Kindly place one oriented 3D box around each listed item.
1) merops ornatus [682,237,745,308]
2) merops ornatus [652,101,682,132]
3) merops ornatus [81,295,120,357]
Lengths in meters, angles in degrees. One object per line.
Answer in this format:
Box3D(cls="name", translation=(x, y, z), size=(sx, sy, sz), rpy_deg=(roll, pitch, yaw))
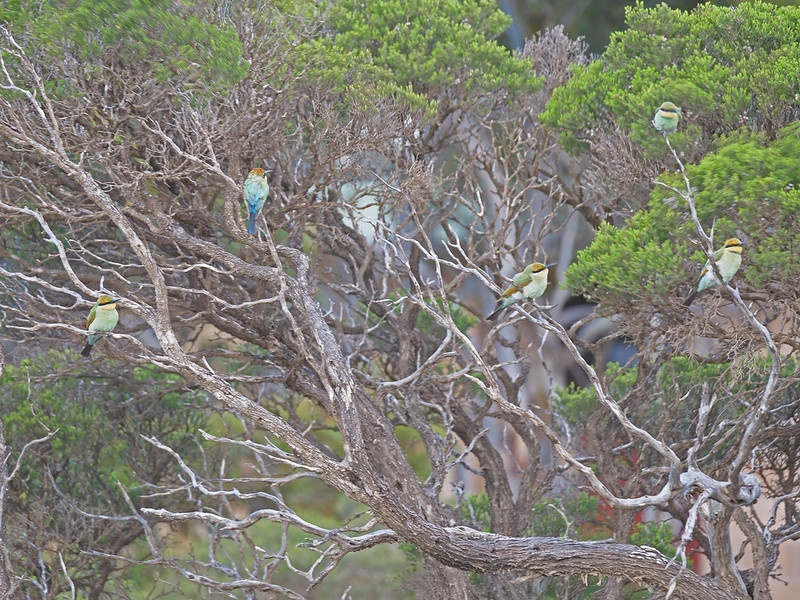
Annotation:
Box3D(cls="merops ornatus", translation=(3.189, -0.250, 12.415), size=(0.498, 0.912, 0.548), rpy_deg=(10, 38, 15))
Box3D(cls="merops ornatus", translation=(2.880, -1.972, 13.148), size=(0.232, 0.348, 0.292), rpy_deg=(7, 58, 15))
Box3D(cls="merops ornatus", translation=(-3.168, 0.270, 12.920), size=(0.221, 0.708, 0.296), rpy_deg=(18, 24, -35))
